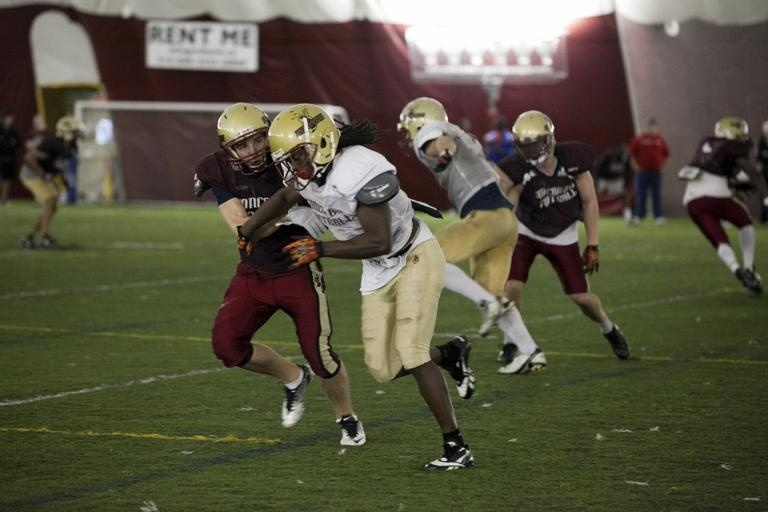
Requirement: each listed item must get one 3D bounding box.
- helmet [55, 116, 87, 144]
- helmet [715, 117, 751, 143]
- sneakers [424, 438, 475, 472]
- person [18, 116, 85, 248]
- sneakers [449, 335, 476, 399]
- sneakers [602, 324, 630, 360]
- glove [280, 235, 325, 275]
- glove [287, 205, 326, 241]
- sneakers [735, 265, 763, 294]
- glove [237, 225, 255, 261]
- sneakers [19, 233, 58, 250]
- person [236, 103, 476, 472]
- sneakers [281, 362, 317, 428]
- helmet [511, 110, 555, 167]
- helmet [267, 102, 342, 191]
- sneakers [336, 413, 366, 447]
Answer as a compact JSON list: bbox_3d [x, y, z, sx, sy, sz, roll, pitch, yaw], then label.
[{"bbox_3d":[-2.490,-1.028,7.489,0.220,0.181,0.102,2,0,-39],"label":"helmet"},{"bbox_3d":[3.437,-1.264,9.360,0.228,0.148,0.305,2,-1,27],"label":"helmet"},{"bbox_3d":[0.420,1.218,5.769,0.374,0.187,0.130,0,-1,-3],"label":"sneakers"},{"bbox_3d":[-2.664,-0.637,7.494,0.648,1.204,0.531,0,34,-22],"label":"person"},{"bbox_3d":[0.526,0.795,6.562,0.208,0.433,0.153,-10,9,-34],"label":"sneakers"},{"bbox_3d":[1.866,0.676,7.546,0.213,0.301,0.180,1,12,7],"label":"sneakers"},{"bbox_3d":[-0.489,-0.027,5.679,0.248,0.178,0.131,0,12,1],"label":"glove"},{"bbox_3d":[-0.492,-0.231,6.081,0.133,0.234,0.184,-46,-7,-10],"label":"glove"},{"bbox_3d":[3.617,0.231,9.420,0.190,0.134,0.411,-7,15,-4],"label":"sneakers"},{"bbox_3d":[-0.886,-0.084,6.109,0.150,0.192,0.104,-10,21,2],"label":"glove"},{"bbox_3d":[-2.792,-0.109,7.612,0.102,0.077,0.259,-3,2,42],"label":"sneakers"},{"bbox_3d":[-0.100,0.166,5.798,1.203,2.169,0.887,-2,12,-8],"label":"person"},{"bbox_3d":[-0.563,0.948,6.290,0.162,0.456,0.215,2,-21,39],"label":"sneakers"},{"bbox_3d":[1.192,-0.988,7.441,0.326,0.405,0.416,-20,21,23],"label":"helmet"},{"bbox_3d":[-0.490,-0.661,5.726,0.414,0.498,0.173,-1,12,-2],"label":"helmet"},{"bbox_3d":[-0.210,1.125,6.003,0.110,0.117,0.266,-27,19,3],"label":"sneakers"}]
